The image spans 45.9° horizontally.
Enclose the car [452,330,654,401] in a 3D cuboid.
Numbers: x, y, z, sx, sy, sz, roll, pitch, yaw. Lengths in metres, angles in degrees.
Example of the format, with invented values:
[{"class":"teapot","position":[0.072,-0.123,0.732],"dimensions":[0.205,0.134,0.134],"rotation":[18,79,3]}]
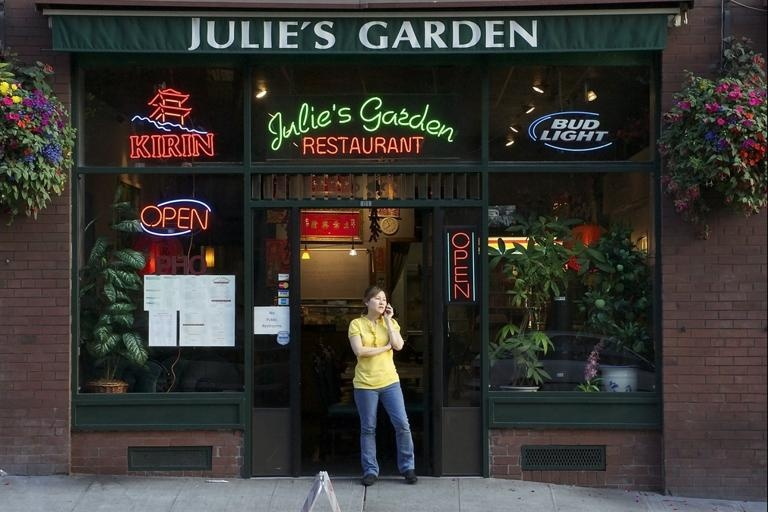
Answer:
[{"class":"car","position":[2.155,1.420,11.675],"dimensions":[2.496,0.812,0.883],"rotation":[-1,-1,0]}]

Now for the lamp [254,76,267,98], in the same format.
[{"class":"lamp","position":[-1.540,-2.100,11.341],"dimensions":[0.231,0.214,0.073],"rotation":[3,2,-8]}]

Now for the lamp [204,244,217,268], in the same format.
[{"class":"lamp","position":[-2.190,0.004,11.358],"dimensions":[0.134,0.263,0.038],"rotation":[-1,-6,-3]}]

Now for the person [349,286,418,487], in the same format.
[{"class":"person","position":[-0.025,1.575,11.019],"dimensions":[0.739,2.397,0.384],"rotation":[-1,-6,0]}]
